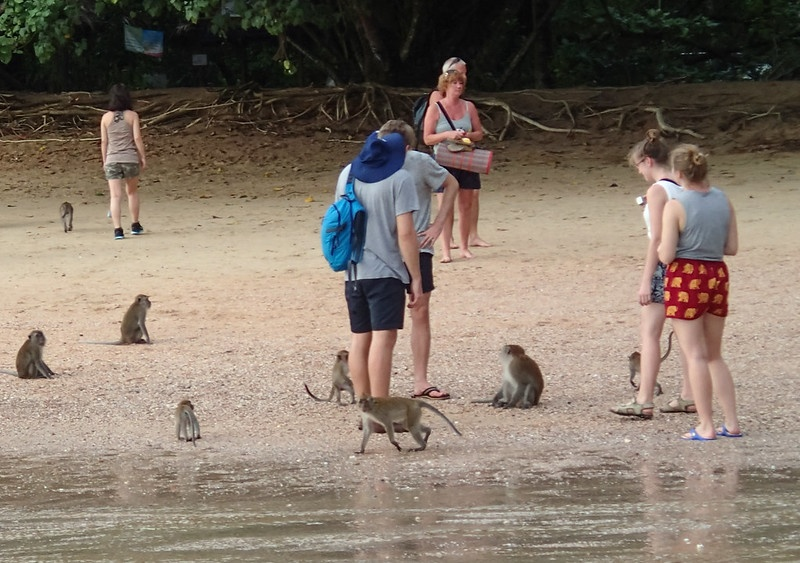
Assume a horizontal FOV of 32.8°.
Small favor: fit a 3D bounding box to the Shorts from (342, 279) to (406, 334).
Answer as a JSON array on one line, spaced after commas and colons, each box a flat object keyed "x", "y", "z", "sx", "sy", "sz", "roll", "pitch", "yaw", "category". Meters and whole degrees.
[{"x": -0.228, "y": 0.218, "z": 12.667, "sx": 0.867, "sy": 0.504, "sz": 0.479, "roll": 2, "pitch": 6, "yaw": 36, "category": "Shorts"}]

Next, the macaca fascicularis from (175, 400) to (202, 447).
[{"x": -2.001, "y": 1.306, "z": 12.745, "sx": 0.229, "sy": 0.392, "sz": 0.229, "roll": -5, "pitch": 6, "yaw": -9, "category": "macaca fascicularis"}]

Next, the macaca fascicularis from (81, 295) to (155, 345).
[{"x": -3.193, "y": 0.443, "z": 15.577, "sx": 0.631, "sy": 0.557, "sz": 0.266, "roll": -3, "pitch": 7, "yaw": -1, "category": "macaca fascicularis"}]

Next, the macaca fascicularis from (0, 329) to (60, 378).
[{"x": -3.972, "y": 0.771, "z": 14.458, "sx": 0.542, "sy": 0.509, "sz": 0.260, "roll": -2, "pitch": 7, "yaw": 7, "category": "macaca fascicularis"}]

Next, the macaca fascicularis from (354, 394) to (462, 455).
[{"x": 0.024, "y": 1.271, "z": 12.459, "sx": 0.861, "sy": 0.531, "sz": 0.281, "roll": -5, "pitch": 6, "yaw": -25, "category": "macaca fascicularis"}]
